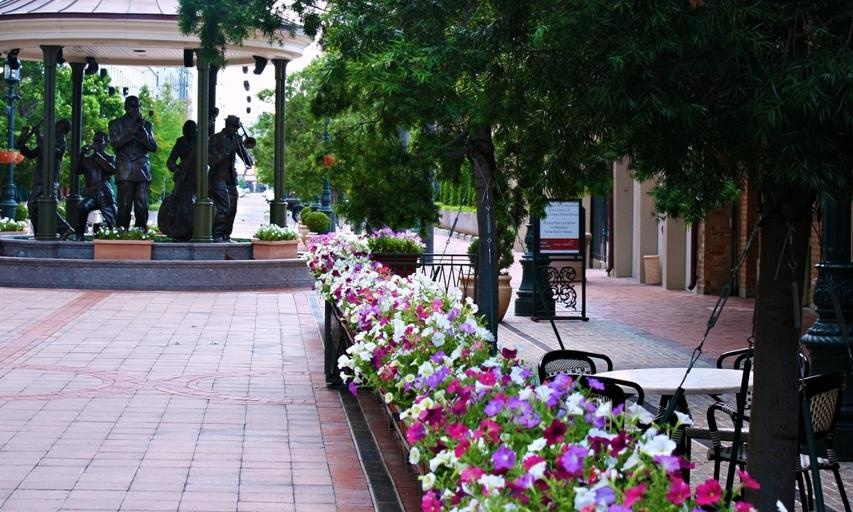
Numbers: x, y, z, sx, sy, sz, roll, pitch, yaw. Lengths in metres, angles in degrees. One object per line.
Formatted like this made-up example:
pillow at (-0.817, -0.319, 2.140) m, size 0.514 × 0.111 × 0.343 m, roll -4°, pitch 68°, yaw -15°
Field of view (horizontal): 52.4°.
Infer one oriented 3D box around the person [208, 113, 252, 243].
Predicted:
person at (-5.065, -1.986, 22.062) m, size 0.912 × 3.129 × 1.012 m, roll 0°, pitch 6°, yaw -14°

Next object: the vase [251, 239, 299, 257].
vase at (-3.763, -0.192, 21.552) m, size 1.091 × 0.466 × 0.451 m, roll 0°, pitch 6°, yaw -22°

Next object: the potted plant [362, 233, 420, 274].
potted plant at (-0.546, -0.115, 14.926) m, size 0.706 × 0.636 × 0.900 m, roll 0°, pitch 0°, yaw 16°

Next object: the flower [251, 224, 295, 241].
flower at (-3.885, -0.562, 21.540) m, size 0.612 × 0.292 × 0.614 m, roll 1°, pitch 2°, yaw 35°

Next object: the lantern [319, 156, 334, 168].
lantern at (-1.274, -1.238, 11.321) m, size 0.221 × 0.115 × 0.272 m, roll 0°, pitch 4°, yaw -5°

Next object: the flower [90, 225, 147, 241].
flower at (-7.080, -0.499, 20.221) m, size 0.950 × 0.292 × 0.667 m, roll 3°, pitch 5°, yaw 8°

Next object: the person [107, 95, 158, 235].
person at (-7.250, -2.298, 21.393) m, size 1.056 × 3.277 × 1.025 m, roll 2°, pitch 6°, yaw 5°
